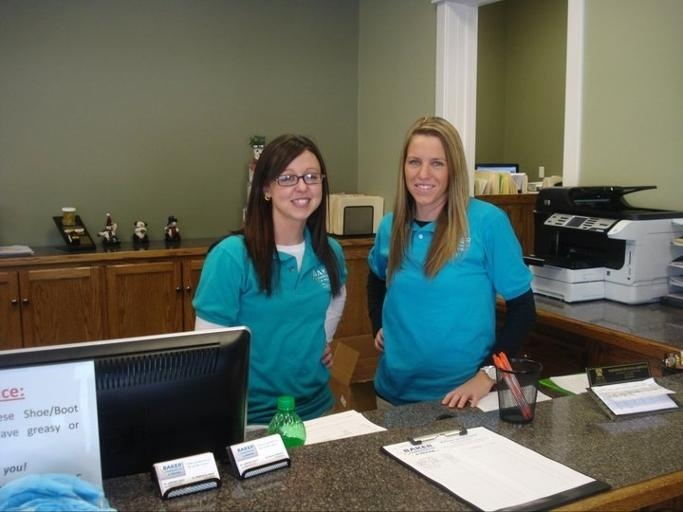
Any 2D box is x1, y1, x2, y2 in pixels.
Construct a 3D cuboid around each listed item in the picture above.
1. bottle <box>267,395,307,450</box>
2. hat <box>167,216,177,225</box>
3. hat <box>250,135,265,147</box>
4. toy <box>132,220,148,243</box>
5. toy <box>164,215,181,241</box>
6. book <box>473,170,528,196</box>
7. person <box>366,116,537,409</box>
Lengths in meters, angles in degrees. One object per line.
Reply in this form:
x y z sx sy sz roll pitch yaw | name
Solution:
-0.155 0.464 1.493 0.130 0.180 0.128 -2 -1 0 | bottle
-1.395 -0.294 4.202 0.056 0.087 0.085 4 11 12 | hat
-0.694 -0.923 4.205 0.126 0.082 0.127 -1 9 -7 | hat
-1.627 -0.194 4.138 0.115 0.154 0.235 -6 14 -21 | toy
-1.367 -0.216 4.144 0.151 0.200 0.201 -1 -3 -21 | toy
1.250 -0.564 4.025 0.309 0.144 0.395 2 8 7 | book
0.444 0.053 2.021 0.628 1.164 0.280 4 13 21 | person
